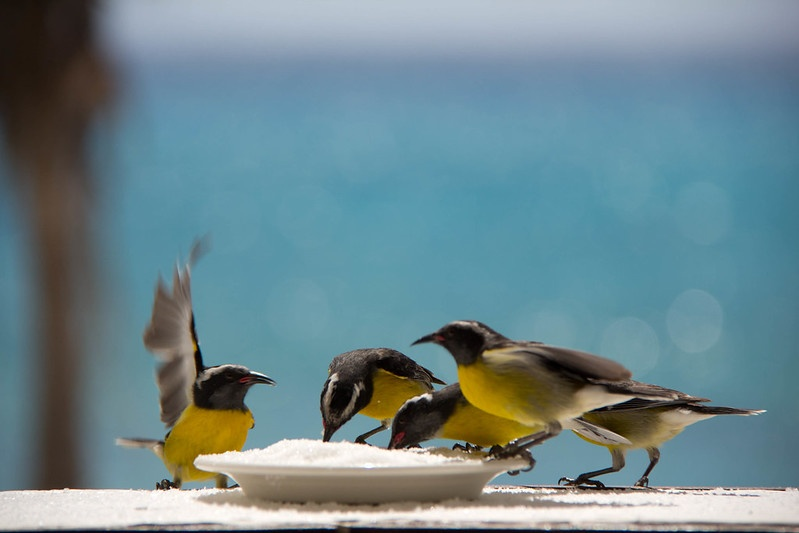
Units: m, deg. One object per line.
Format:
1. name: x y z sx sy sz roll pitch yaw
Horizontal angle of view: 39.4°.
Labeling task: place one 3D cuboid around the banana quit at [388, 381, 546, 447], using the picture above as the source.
1. banana quit: 0.291 0.690 4.861 0.616 0.247 0.273 -7 -19 13

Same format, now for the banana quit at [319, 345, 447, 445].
1. banana quit: -0.108 0.558 5.297 0.652 0.341 0.291 -31 19 -38
